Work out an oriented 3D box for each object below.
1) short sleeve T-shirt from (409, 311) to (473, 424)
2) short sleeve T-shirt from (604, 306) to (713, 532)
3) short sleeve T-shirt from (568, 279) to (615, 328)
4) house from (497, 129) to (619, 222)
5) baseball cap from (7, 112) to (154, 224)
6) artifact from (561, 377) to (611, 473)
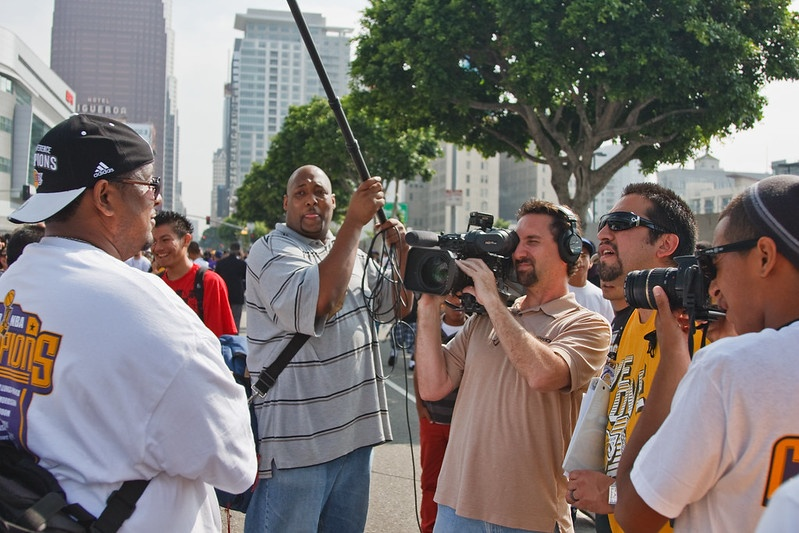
[{"bbox_3d":[0.309,0.886,6.877,0.503,0.644,0.704,1,-23,-2],"label":"short sleeve T-shirt"},{"bbox_3d":[1.263,0.791,5.216,0.753,1.064,0.260,14,-6,-40],"label":"short sleeve T-shirt"},{"bbox_3d":[1.413,0.273,7.104,0.281,0.323,0.165,-17,-7,-16],"label":"short sleeve T-shirt"},{"bbox_3d":[18.133,-9.759,110.275,10.817,10.452,6.483,-14,28,-23],"label":"house"},{"bbox_3d":[-1.573,-0.522,4.912,0.681,0.367,0.432,-35,26,-28],"label":"baseball cap"},{"bbox_3d":[0.946,0.857,5.187,0.114,0.448,0.322,12,0,9],"label":"artifact"}]
